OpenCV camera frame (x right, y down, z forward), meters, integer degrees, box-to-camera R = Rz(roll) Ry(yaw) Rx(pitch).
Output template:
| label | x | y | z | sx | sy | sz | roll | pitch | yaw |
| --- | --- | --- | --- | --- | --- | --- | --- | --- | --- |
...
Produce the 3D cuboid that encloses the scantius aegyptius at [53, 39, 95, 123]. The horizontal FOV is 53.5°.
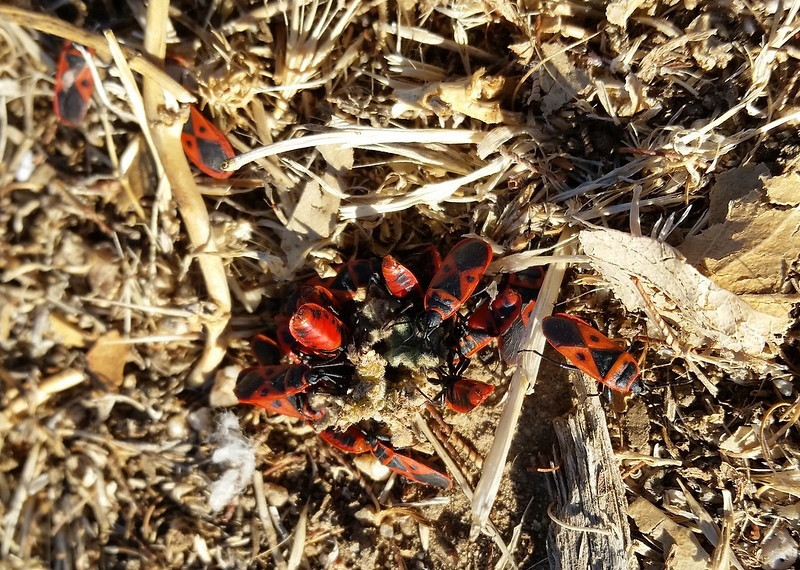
| label | x | y | z | sx | sy | sz | roll | pitch | yaw |
| --- | --- | --- | --- | --- | --- | --- | --- | --- | --- |
| scantius aegyptius | -1.175 | -0.728 | 2.847 | 0.136 | 0.068 | 0.290 | -2 | 106 | -12 |
